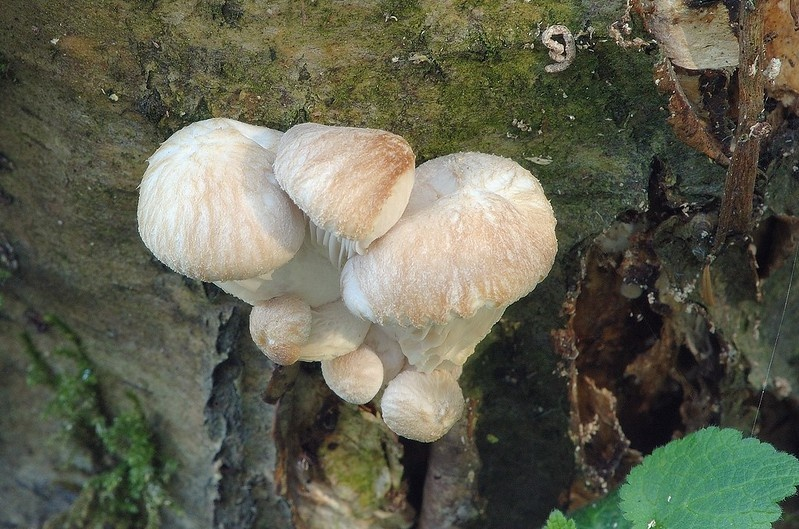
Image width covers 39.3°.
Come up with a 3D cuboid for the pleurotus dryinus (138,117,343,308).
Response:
[{"bbox_3d":[-1.087,-0.266,7.901,1.222,1.240,1.250,37,-8,10],"label":"pleurotus dryinus"}]

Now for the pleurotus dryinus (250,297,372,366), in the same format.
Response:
[{"bbox_3d":[-0.641,0.436,7.795,0.653,0.493,0.276,-17,-10,-9],"label":"pleurotus dryinus"}]

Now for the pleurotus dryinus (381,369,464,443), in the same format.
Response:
[{"bbox_3d":[0.176,0.921,7.994,0.437,0.549,0.668,-3,9,3],"label":"pleurotus dryinus"}]

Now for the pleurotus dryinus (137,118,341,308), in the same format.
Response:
[{"bbox_3d":[-1.175,-0.362,7.871,1.165,1.249,1.226,-9,21,-17],"label":"pleurotus dryinus"}]

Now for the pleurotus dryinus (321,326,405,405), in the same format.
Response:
[{"bbox_3d":[-0.364,0.836,8.045,0.561,0.530,0.303,29,33,16],"label":"pleurotus dryinus"}]

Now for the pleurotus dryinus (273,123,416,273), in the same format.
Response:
[{"bbox_3d":[-0.416,-0.552,7.512,0.956,0.885,0.814,1,32,-9],"label":"pleurotus dryinus"}]
